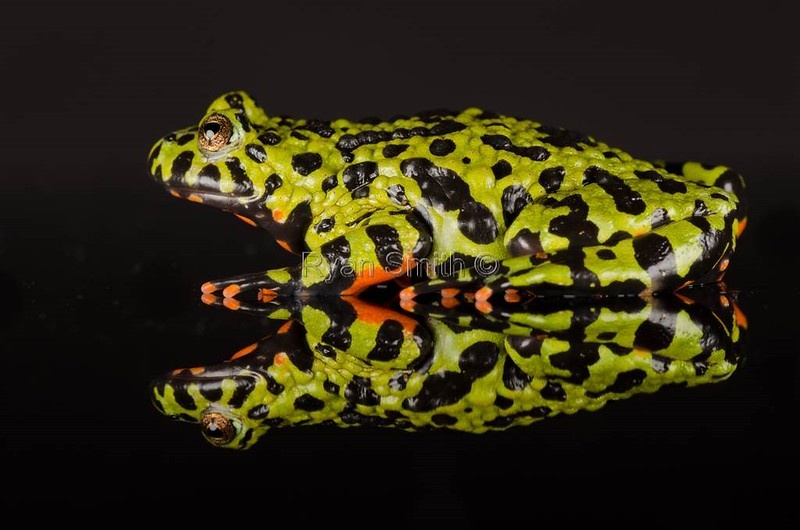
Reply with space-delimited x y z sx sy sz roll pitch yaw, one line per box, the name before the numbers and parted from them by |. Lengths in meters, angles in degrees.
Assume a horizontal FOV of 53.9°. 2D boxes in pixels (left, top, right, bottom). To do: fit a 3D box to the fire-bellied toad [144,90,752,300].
fire-bellied toad | 0.299 -0.442 6.153 4.260 2.684 1.285 1 100 3
